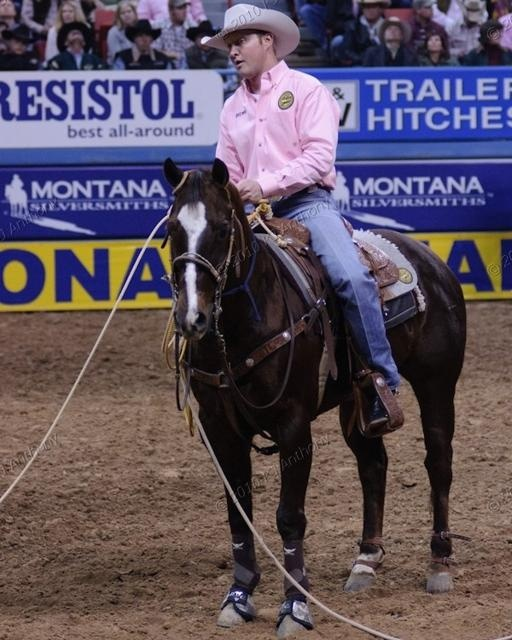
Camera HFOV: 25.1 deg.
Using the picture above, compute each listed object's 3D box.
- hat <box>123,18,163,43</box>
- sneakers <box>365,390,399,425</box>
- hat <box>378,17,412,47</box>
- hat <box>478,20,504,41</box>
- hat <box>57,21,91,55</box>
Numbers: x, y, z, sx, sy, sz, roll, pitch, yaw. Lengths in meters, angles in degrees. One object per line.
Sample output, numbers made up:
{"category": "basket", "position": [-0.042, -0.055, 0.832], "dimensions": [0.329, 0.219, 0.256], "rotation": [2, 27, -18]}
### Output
{"category": "hat", "position": [-0.932, -2.398, 9.449], "dimensions": [0.224, 0.096, 0.251], "rotation": [1, -18, -6]}
{"category": "sneakers", "position": [0.614, 0.442, 5.683], "dimensions": [0.137, 0.179, 0.181], "rotation": [0, -15, -11]}
{"category": "hat", "position": [1.141, -2.405, 9.560], "dimensions": [0.213, 0.244, 0.133], "rotation": [-1, 5, 3]}
{"category": "hat", "position": [1.965, -2.431, 9.636], "dimensions": [0.185, 0.156, 0.070], "rotation": [4, 15, 10]}
{"category": "hat", "position": [-1.467, -2.325, 9.308], "dimensions": [0.241, 0.222, 0.061], "rotation": [3, 16, -11]}
